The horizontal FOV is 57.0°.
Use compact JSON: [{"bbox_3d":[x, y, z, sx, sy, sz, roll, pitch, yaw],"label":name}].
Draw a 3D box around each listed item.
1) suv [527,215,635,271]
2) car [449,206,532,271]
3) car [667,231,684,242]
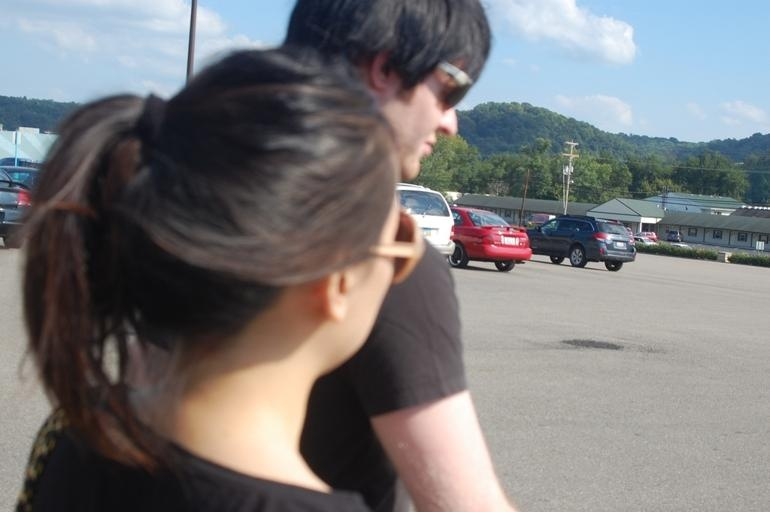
[{"bbox_3d":[5.643,-0.426,20.743,1.485,1.205,3.229,2,7,-33],"label":"suv"},{"bbox_3d":[2.750,-0.221,16.573,0.810,1.179,2.618,31,8,-12],"label":"car"},{"bbox_3d":[32.576,-2.116,80.174,1.251,1.127,2.355,2,10,17],"label":"car"}]
